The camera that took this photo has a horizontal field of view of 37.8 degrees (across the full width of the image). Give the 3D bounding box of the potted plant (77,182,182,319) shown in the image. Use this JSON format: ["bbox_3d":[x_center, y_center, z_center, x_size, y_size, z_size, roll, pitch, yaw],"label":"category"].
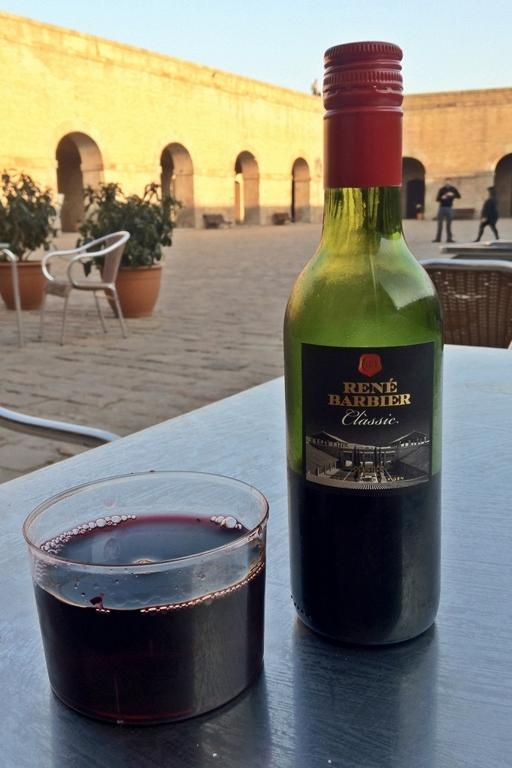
[{"bbox_3d":[-1.015,-1.159,6.794,1.007,1.044,0.821,-3,10,-23],"label":"potted plant"}]

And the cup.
[{"bbox_3d":[-0.054,0.114,0.421,0.136,0.082,0.125,-2,7,0],"label":"cup"}]
